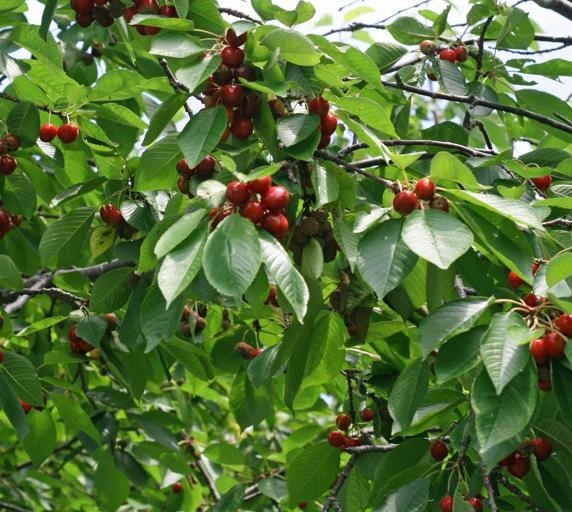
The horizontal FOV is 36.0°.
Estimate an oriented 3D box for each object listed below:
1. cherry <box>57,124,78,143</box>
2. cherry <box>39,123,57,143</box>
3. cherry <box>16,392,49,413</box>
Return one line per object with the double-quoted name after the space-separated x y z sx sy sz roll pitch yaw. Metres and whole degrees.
-1.142 -0.633 4.585 0.102 0.094 0.098 3 6 26 "cherry"
-1.274 -0.653 4.687 0.093 0.088 0.108 25 -4 -7 "cherry"
-1.341 0.768 4.606 0.174 0.081 0.082 -5 -1 -9 "cherry"
